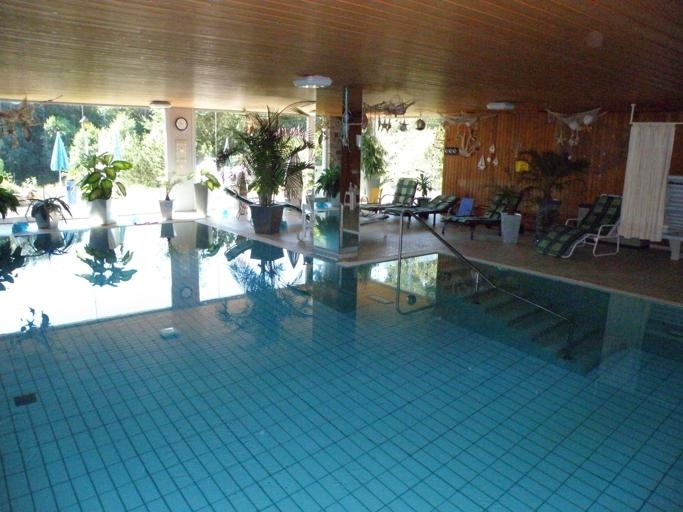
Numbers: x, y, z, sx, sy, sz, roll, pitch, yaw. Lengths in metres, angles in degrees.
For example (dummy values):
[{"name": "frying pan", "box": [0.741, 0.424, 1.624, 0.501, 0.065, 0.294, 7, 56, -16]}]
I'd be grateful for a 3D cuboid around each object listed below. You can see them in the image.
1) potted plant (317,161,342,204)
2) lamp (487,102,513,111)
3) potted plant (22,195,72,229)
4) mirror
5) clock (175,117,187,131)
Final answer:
[{"name": "potted plant", "box": [-0.228, -1.460, 7.844, 0.745, 0.621, 0.671, -5, 15, -5]}, {"name": "lamp", "box": [4.203, -3.947, 10.879, 0.623, 0.146, 2.004, 5, 16, 21]}, {"name": "potted plant", "box": [-7.599, -1.149, 10.769, 0.787, 0.767, 1.045, -11, 18, -29]}, {"name": "mirror", "box": [-0.022, -1.552, 7.647, 0.874, 3.035, 0.838, -7, 18, -17]}, {"name": "clock", "box": [-5.193, -4.297, 13.296, 0.100, 0.376, 0.437, 6, 13, 44]}]
